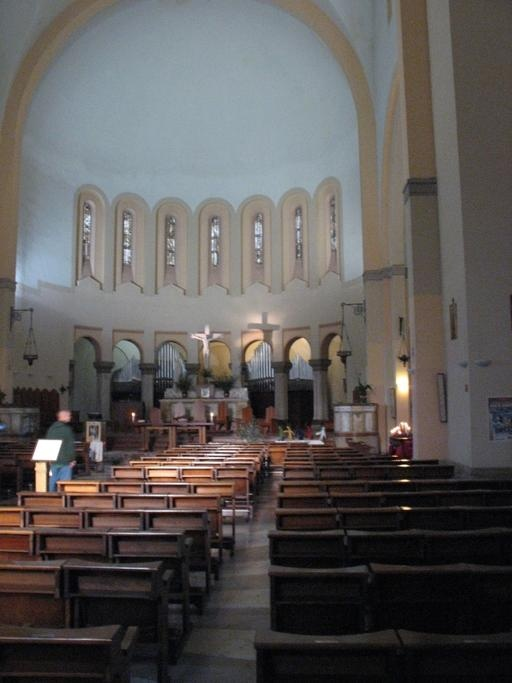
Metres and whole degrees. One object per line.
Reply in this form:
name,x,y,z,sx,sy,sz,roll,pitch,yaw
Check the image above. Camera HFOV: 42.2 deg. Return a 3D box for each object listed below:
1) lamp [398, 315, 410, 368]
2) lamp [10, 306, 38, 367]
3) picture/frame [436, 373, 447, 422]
lamp,3.375,0.015,15.331,0.258,1.160,0.771,-5,-6,12
lamp,-6.724,-0.156,19.415,0.469,1.743,1.650,-3,-6,-10
picture/frame,2.929,0.898,10.457,0.168,0.795,0.232,-5,-6,16
